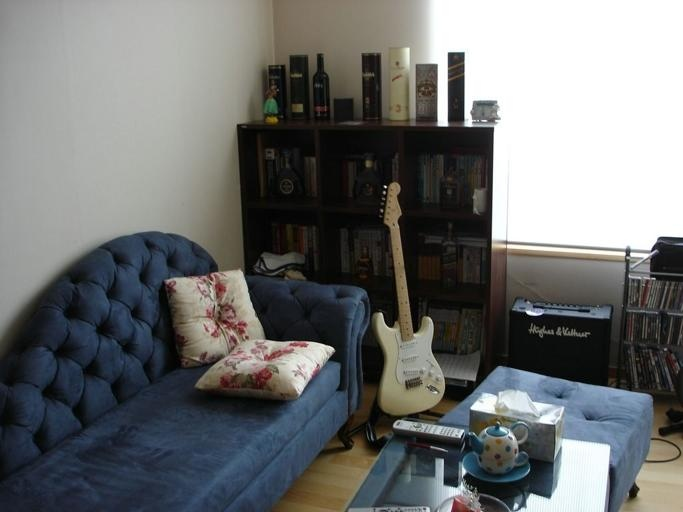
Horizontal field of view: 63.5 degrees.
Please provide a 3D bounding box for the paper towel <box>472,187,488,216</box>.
[{"bbox_3d":[0.792,-0.317,3.166,0.076,0.148,0.160,0,13,12],"label":"paper towel"}]

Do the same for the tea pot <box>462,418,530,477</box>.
[{"bbox_3d":[0.549,0.657,1.959,0.219,0.162,0.138,-5,8,-27],"label":"tea pot"}]

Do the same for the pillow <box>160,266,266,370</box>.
[{"bbox_3d":[-0.637,0.284,2.707,0.447,0.432,0.133,-11,-13,-43],"label":"pillow"}]

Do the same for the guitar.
[{"bbox_3d":[0.335,0.217,2.956,0.372,1.178,0.355,-3,12,-3],"label":"guitar"}]

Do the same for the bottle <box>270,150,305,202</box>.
[{"bbox_3d":[-0.360,-0.528,3.556,0.259,0.406,0.242,0,15,0],"label":"bottle"}]

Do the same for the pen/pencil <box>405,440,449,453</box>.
[{"bbox_3d":[0.326,0.722,2.104,0.147,0.021,0.021,4,44,17],"label":"pen/pencil"}]

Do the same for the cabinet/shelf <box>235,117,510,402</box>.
[{"bbox_3d":[0.234,0.015,3.188,1.446,1.676,0.457,2,10,10],"label":"cabinet/shelf"}]

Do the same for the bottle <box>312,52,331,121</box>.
[{"bbox_3d":[-0.139,-1.091,3.591,0.119,0.405,0.245,-3,12,-2],"label":"bottle"}]
